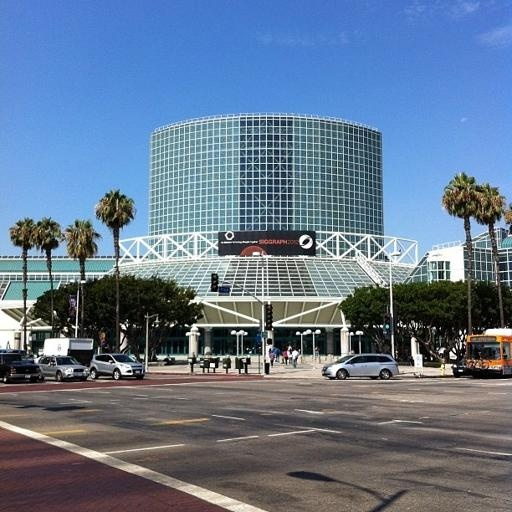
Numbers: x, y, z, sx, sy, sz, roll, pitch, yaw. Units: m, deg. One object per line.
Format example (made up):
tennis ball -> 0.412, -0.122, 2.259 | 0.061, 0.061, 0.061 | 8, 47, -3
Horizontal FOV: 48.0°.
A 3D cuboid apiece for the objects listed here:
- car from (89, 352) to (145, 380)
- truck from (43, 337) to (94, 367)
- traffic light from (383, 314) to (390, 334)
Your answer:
car -> -10.410, 8.178, 42.686 | 2.463, 1.956, 4.956 | 10, -15, -44
truck -> -16.745, 8.173, 51.324 | 2.537, 2.999, 4.583 | 4, -4, -43
traffic light -> 11.088, 5.717, 48.702 | 0.465, 1.551, 1.196 | -2, -10, 13
